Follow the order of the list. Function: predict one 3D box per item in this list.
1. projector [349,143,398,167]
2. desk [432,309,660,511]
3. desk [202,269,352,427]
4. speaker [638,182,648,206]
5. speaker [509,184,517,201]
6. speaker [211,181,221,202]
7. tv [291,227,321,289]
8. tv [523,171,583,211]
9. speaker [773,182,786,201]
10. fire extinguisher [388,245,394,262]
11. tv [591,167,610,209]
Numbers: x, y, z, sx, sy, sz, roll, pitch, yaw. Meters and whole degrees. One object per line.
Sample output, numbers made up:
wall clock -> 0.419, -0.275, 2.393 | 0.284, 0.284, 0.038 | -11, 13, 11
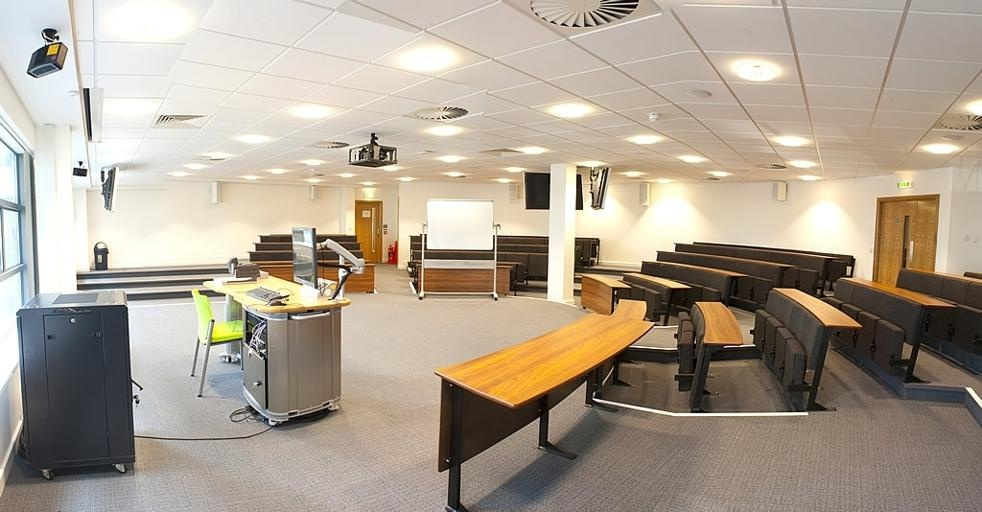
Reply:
projector -> -2.326, -1.880, 9.670 | 0.722, 0.268, 0.664 | 0, -2, 25
desk -> 0.574, 1.837, 6.108 | 1.149, 1.782, 2.486 | 3, 5, 44
desk -> -2.924, 1.284, 7.168 | 1.004, 1.730, 1.608 | -4, 5, -42
speaker -> 4.950, -1.989, 16.549 | 0.312, 0.703, 0.216 | 2, 5, 28
speaker -> 0.787, -2.243, 17.959 | 0.407, 0.594, 0.168 | 1, 5, 17
speaker -> -9.244, -2.115, 17.066 | 0.324, 0.722, 0.176 | -3, 5, -28
tv -> -2.658, 0.028, 7.242 | 0.128, 0.849, 1.062 | -5, 7, -37
tv -> 1.675, -1.542, 12.258 | 0.150, 0.894, 1.455 | 1, 7, -20
speaker -> 8.180, -1.809, 14.475 | 0.369, 0.541, 0.184 | 1, 5, 25
fire extinguisher -> -3.905, -0.089, 19.928 | 0.297, 0.631, 0.137 | 2, 5, 33
tv -> 2.684, -1.695, 12.629 | 0.438, 1.052, 0.863 | 0, 4, 10
